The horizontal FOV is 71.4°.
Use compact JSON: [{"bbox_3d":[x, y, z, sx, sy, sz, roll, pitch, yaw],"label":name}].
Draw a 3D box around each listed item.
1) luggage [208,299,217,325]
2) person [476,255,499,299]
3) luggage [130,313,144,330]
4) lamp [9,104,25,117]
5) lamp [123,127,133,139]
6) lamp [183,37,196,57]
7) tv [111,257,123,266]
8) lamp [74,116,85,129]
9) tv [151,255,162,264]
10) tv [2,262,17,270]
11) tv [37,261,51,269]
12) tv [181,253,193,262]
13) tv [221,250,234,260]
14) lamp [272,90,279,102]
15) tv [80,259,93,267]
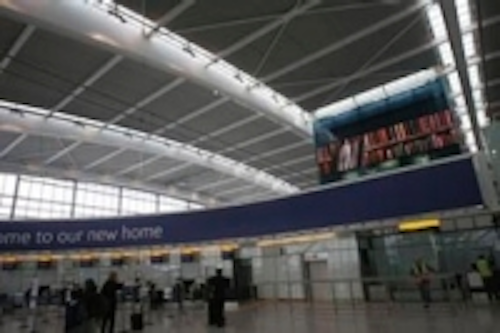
[{"bbox_3d":[-1.604,6.057,14.562,0.303,1.071,0.248,-12,-15,30],"label":"luggage"},{"bbox_3d":[11.294,5.229,16.577,0.616,1.962,0.622,-12,-15,33],"label":"person"},{"bbox_3d":[-4.804,6.558,14.745,0.537,0.646,0.491,0,-13,-18],"label":"luggage"},{"bbox_3d":[-13.840,-3.369,20.558,0.812,0.465,0.767,1,-9,-3],"label":"lamp"},{"bbox_3d":[-8.296,-2.318,23.674,0.717,0.702,0.715,-8,-8,34],"label":"lamp"},{"bbox_3d":[-3.141,-5.965,17.423,0.843,0.554,0.804,2,2,6],"label":"lamp"},{"bbox_3d":[-8.451,5.985,21.977,0.979,0.475,0.591,2,-5,6],"label":"tv"},{"bbox_3d":[-10.936,-2.853,22.234,0.493,0.632,0.458,13,-53,-43],"label":"lamp"},{"bbox_3d":[-5.902,5.787,22.021,0.887,0.554,0.462,0,-4,6],"label":"tv"},{"bbox_3d":[-15.422,6.305,22.191,0.587,0.448,0.280,3,-7,-15],"label":"tv"},{"bbox_3d":[-13.176,6.189,22.217,0.939,0.592,0.486,0,-7,2],"label":"tv"},{"bbox_3d":[-3.954,5.623,21.547,0.991,0.477,0.649,3,-10,4],"label":"tv"},{"bbox_3d":[-1.327,5.253,20.753,0.632,0.407,0.082,0,-17,4],"label":"tv"},{"bbox_3d":[1.594,-4.416,21.819,0.478,0.482,0.549,36,-5,42],"label":"lamp"},{"bbox_3d":[-10.467,6.115,22.135,0.914,0.441,0.618,3,-5,4],"label":"tv"}]
